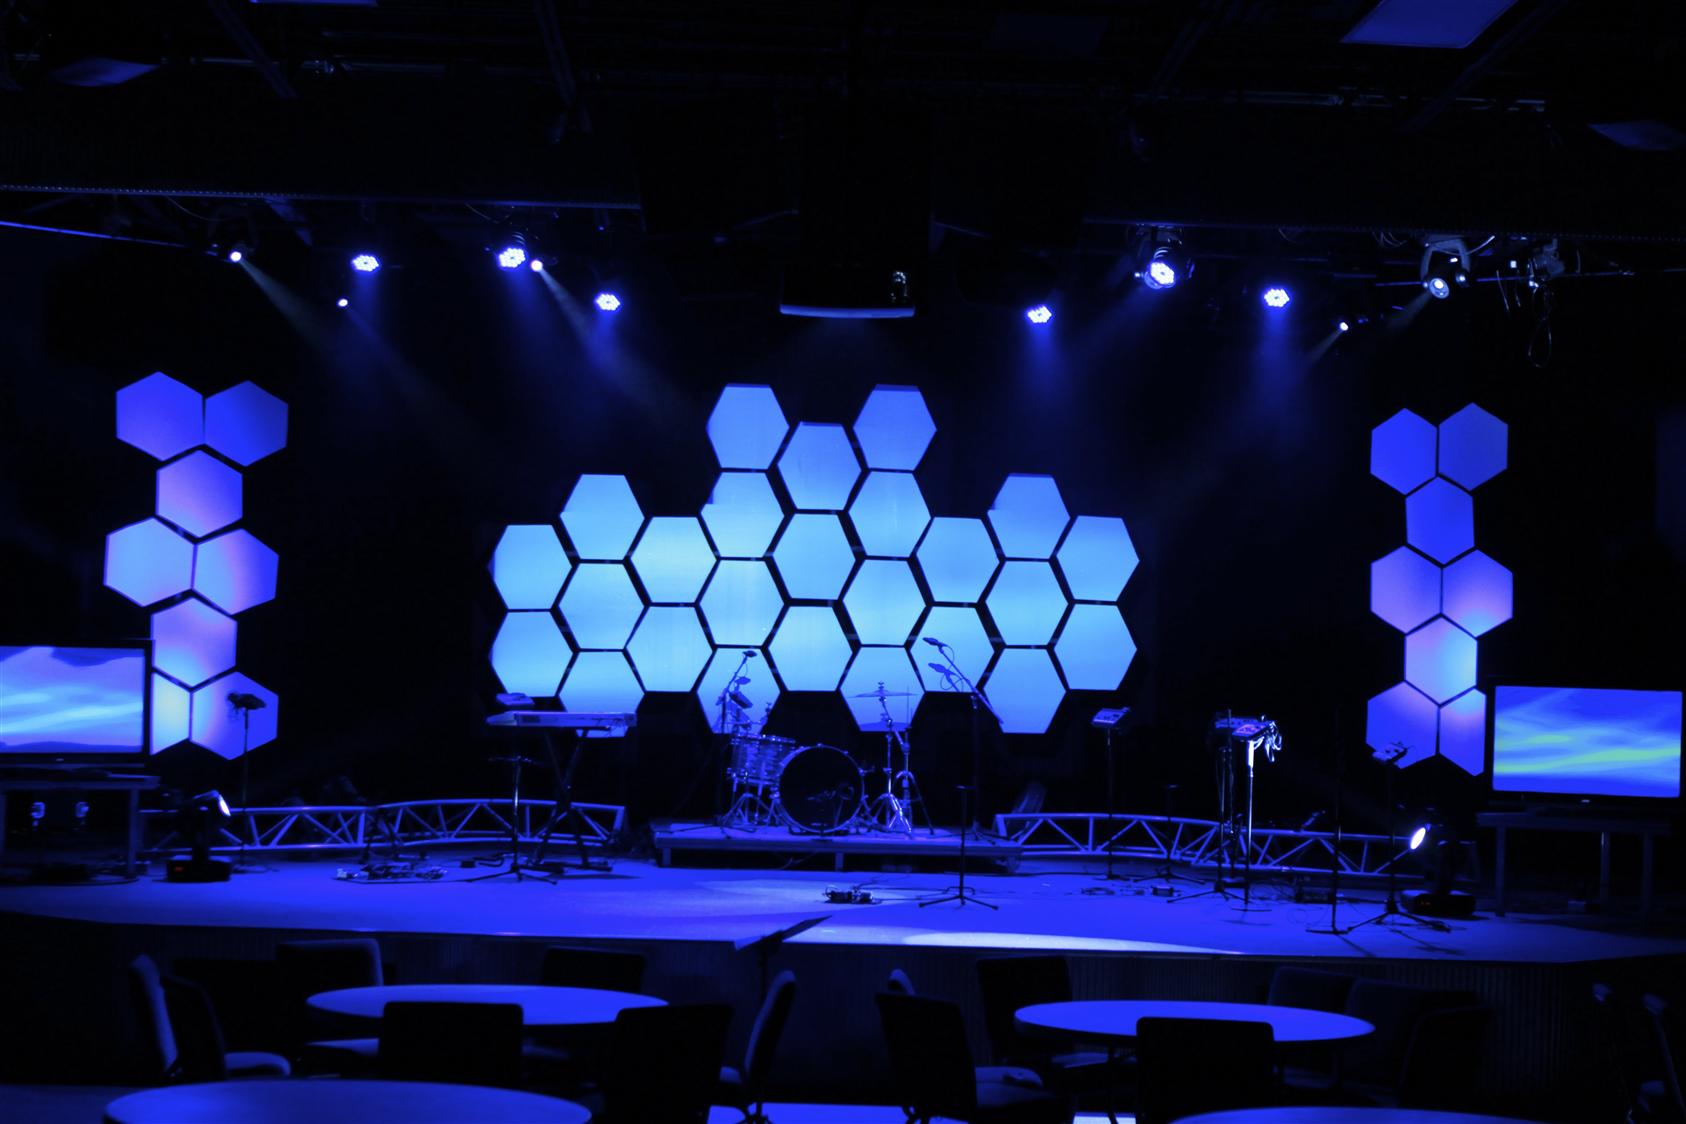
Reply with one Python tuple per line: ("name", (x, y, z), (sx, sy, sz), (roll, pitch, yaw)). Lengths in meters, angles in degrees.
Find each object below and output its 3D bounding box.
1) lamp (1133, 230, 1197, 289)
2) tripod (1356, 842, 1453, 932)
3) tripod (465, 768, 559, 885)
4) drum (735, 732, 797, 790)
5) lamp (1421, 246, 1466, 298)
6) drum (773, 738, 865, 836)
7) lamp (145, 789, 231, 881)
("lamp", (2.542, -2.441, 13.629), (0.446, 0.387, 0.393), (0, 25, 6))
("tripod", (3.918, 2.202, 11.885), (0.534, 0.685, 0.516), (5, -6, 1))
("tripod", (-2.626, 2.110, 13.441), (0.461, 0.505, 0.431), (2, -6, 22))
("drum", (-0.660, 1.591, 13.852), (0.459, 0.277, 0.430), (2, -2, 0))
("lamp", (4.572, -2.231, 13.045), (0.248, 0.350, 0.369), (4, 31, 21))
("drum", (-0.205, 1.815, 13.844), (0.682, 0.644, 0.676), (11, -5, -2))
("lamp", (-4.898, 1.922, 12.975), (0.665, 0.537, 0.796), (12, -34, -15))
